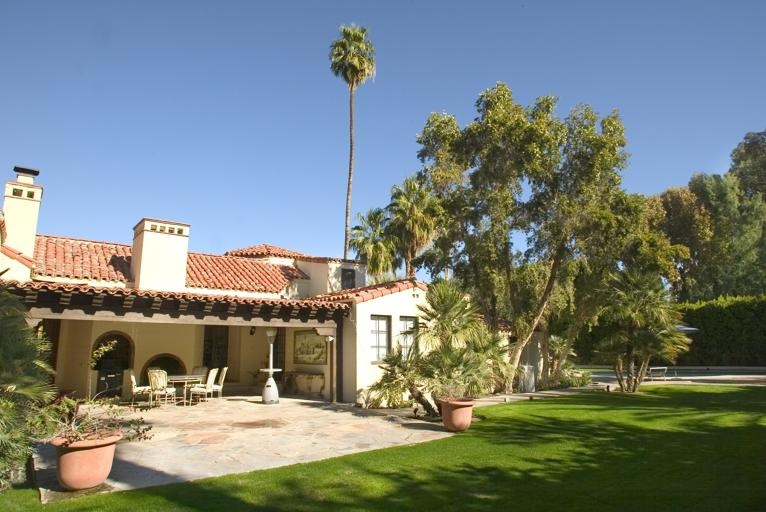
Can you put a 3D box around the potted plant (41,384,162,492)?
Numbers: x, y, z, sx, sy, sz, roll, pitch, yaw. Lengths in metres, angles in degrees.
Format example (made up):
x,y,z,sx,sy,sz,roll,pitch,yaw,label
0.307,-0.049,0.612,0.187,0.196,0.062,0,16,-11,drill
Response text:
x,y,z,sx,sy,sz,roll,pitch,yaw,label
-7.218,4.584,12.833,2.507,2.176,1.889,10,-5,-32,potted plant

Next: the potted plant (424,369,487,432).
x,y,z,sx,sy,sz,roll,pitch,yaw,label
2.299,4.603,16.733,1.735,1.963,0.989,-2,-11,7,potted plant
